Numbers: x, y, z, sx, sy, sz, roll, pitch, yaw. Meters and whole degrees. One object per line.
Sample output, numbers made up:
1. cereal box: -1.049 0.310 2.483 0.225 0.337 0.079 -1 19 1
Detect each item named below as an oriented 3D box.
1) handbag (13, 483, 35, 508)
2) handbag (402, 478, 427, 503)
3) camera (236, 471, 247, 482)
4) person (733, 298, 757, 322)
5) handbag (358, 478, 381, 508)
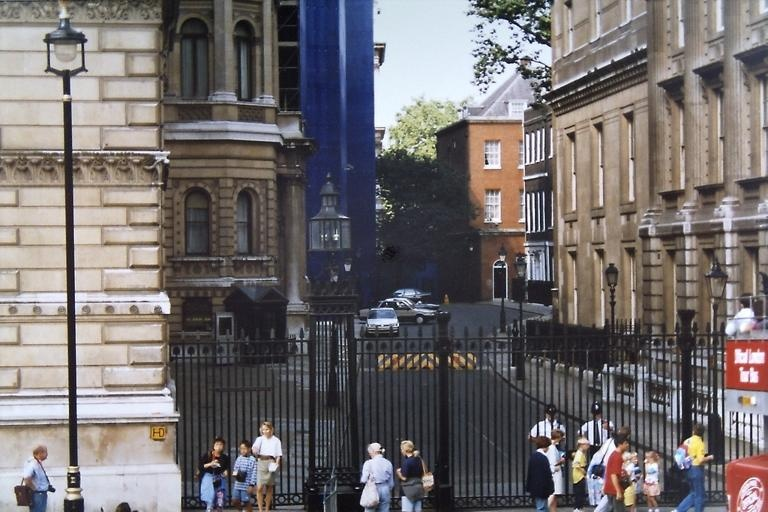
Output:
1. handbag: -9.106 6.193 46.415 0.594 0.739 0.483 -2 -2 8
2. handbag: 0.757 6.118 47.211 0.621 0.587 0.601 -5 9 -43
3. camera: -3.713 5.838 47.677 0.255 0.263 0.284 -4 7 -28
4. person: 9.170 1.403 46.224 0.750 0.814 0.470 3 7 11
5. handbag: -0.352 6.225 46.998 0.486 0.721 0.312 -1 -8 -3
